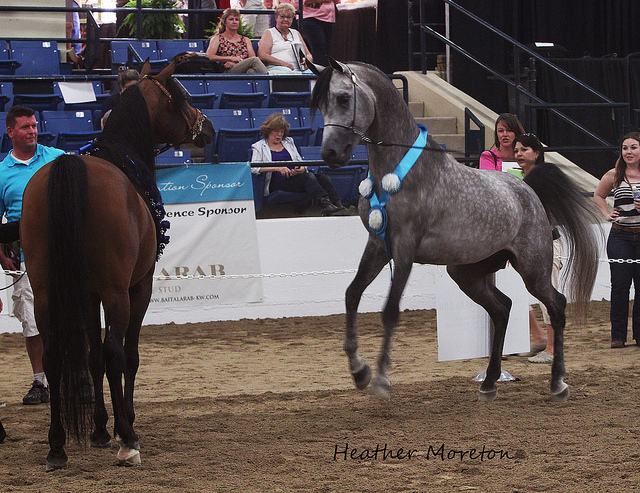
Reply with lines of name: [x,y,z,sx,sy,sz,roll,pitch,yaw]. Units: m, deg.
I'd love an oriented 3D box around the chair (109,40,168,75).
chair: [-2.680,-2.770,18.432,0.699,0.581,0.535,-2,33,-13]

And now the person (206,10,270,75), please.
person: [-1.240,-3.036,18.101,0.792,0.913,0.977,-6,12,-28]

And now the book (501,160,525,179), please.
book: [2.054,-0.831,12.959,0.209,0.057,0.237,5,38,-4]

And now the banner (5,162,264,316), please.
banner: [-1.879,-0.105,12.236,1.743,1.104,0.025,-4,2,-22]

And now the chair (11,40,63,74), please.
chair: [-4.284,-2.766,18.547,0.762,0.731,0.635,-4,6,-18]

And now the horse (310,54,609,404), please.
horse: [1.356,-0.052,12.036,3.801,3.090,0.911,9,-7,-34]

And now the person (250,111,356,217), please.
person: [-0.214,-1.020,15.689,1.368,1.597,0.712,-4,-8,32]

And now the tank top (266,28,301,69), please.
tank top: [-0.531,-3.049,18.577,0.662,0.649,0.381,-18,19,-42]

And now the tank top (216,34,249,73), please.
tank top: [-1.291,-2.872,18.187,0.508,0.711,0.395,4,-14,-12]
